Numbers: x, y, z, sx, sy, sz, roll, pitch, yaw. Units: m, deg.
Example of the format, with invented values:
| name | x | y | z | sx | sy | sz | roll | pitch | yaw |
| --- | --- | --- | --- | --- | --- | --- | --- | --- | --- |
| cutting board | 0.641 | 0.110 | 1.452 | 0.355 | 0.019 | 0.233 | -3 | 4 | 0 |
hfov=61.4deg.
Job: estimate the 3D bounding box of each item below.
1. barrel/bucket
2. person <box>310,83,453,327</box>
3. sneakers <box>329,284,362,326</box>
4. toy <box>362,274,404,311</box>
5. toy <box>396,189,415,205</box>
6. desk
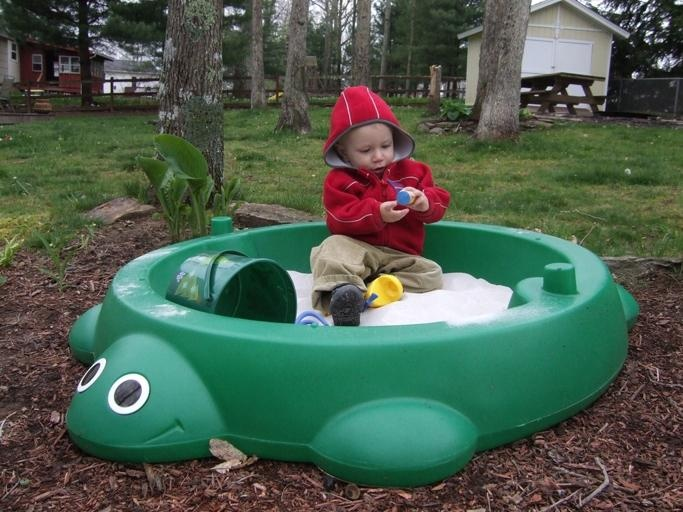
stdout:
| name | x | y | z | sx | sy | sz | roll | pitch | yaw |
| --- | --- | --- | --- | --- | --- | --- | --- | --- | --- |
| barrel/bucket | -0.504 | 0.161 | 2.657 | 0.435 | 0.395 | 0.316 | -10 | 20 | -39 |
| person | 0.200 | -0.300 | 3.011 | 0.747 | 1.126 | 1.158 | 7 | 17 | 10 |
| sneakers | 0.025 | 0.241 | 2.547 | 0.144 | 0.179 | 0.212 | 2 | 17 | -7 |
| toy | 0.220 | 0.182 | 2.907 | 0.182 | 0.133 | 0.228 | 6 | 17 | 6 |
| toy | 0.328 | -0.302 | 2.963 | 0.085 | 0.085 | 0.142 | 6 | 17 | 6 |
| desk | 5.239 | -3.861 | 13.801 | 1.732 | 0.957 | 1.998 | 3 | 16 | -6 |
